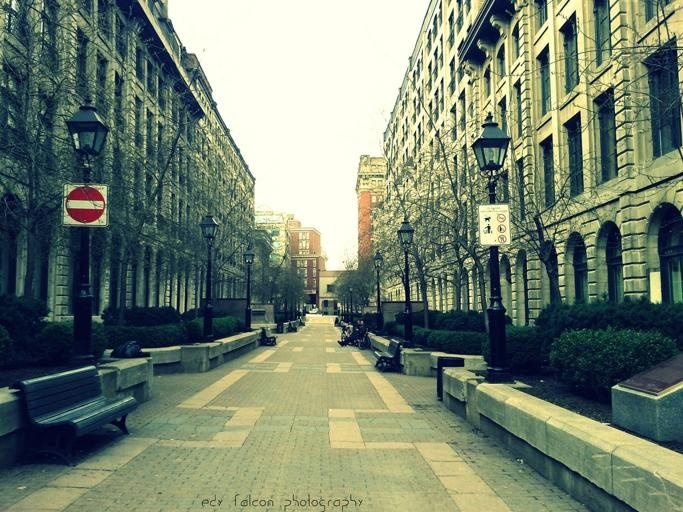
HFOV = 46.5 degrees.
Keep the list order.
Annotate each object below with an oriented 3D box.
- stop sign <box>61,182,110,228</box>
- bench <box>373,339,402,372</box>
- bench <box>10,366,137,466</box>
[{"bbox_3d":[-5.501,-1.070,17.138,0.946,0.928,0.471,-3,8,-22],"label":"stop sign"},{"bbox_3d":[1.517,3.184,25.474,0.732,1.086,1.678,-2,7,-9],"label":"bench"},{"bbox_3d":[-5.124,3.075,15.745,1.209,1.558,2.733,-2,-1,9],"label":"bench"}]
